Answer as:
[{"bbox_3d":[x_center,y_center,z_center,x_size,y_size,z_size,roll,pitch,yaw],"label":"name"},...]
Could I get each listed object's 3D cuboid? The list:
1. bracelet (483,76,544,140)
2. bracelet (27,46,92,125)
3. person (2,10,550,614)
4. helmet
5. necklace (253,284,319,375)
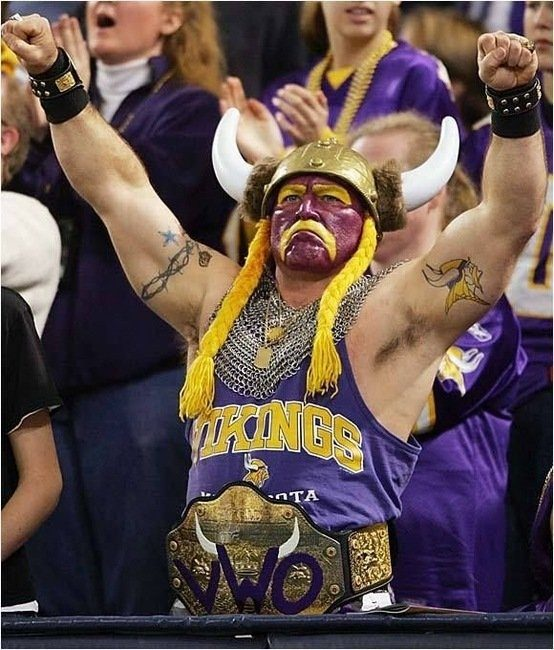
[{"bbox_3d":[0.573,-0.506,2.942,0.130,0.126,0.146,7,16,38],"label":"bracelet"},{"bbox_3d":[-0.557,-0.606,3.240,0.152,0.179,0.171,-2,38,-16],"label":"bracelet"},{"bbox_3d":[-0.002,-0.086,3.191,1.155,1.212,1.132,-30,39,-27],"label":"person"},{"bbox_3d":[0.144,-0.409,3.309,0.241,0.225,0.171,6,48,12],"label":"helmet"},{"bbox_3d":[-0.002,0.019,3.194,0.192,0.068,0.186,9,70,36],"label":"necklace"}]
